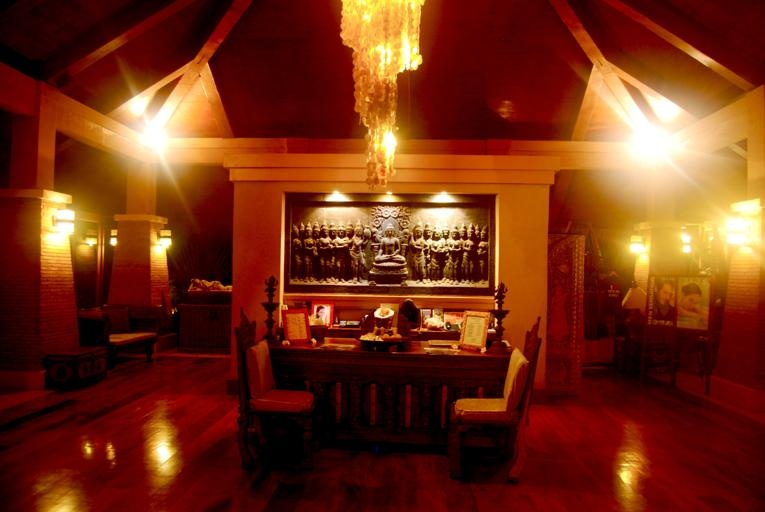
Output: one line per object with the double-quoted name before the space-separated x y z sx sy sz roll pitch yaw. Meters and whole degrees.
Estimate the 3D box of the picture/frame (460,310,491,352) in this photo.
"picture/frame" 1.439 1.181 9.162 0.445 0.612 0.062 7 3 -8

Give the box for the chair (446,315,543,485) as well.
"chair" 1.655 2.123 8.527 1.269 2.348 0.767 1 0 15

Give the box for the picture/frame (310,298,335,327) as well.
"picture/frame" -1.084 1.047 10.481 0.485 0.618 0.063 0 -18 -3

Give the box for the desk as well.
"desk" 0.071 2.113 9.540 3.773 1.684 1.371 2 13 3

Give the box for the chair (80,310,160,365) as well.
"chair" -5.638 1.679 12.300 0.917 1.181 1.710 2 1 14

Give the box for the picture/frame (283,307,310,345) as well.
"picture/frame" -1.408 1.157 9.324 0.524 0.656 0.049 -1 -19 -26

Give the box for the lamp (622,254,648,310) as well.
"lamp" 5.778 0.558 13.167 0.517 1.341 1.870 1 0 25

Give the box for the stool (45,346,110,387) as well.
"stool" -5.774 2.112 10.926 0.649 0.642 1.002 -1 -1 7

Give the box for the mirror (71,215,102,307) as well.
"mirror" -7.341 0.099 14.308 0.724 2.182 0.488 1 0 -26
